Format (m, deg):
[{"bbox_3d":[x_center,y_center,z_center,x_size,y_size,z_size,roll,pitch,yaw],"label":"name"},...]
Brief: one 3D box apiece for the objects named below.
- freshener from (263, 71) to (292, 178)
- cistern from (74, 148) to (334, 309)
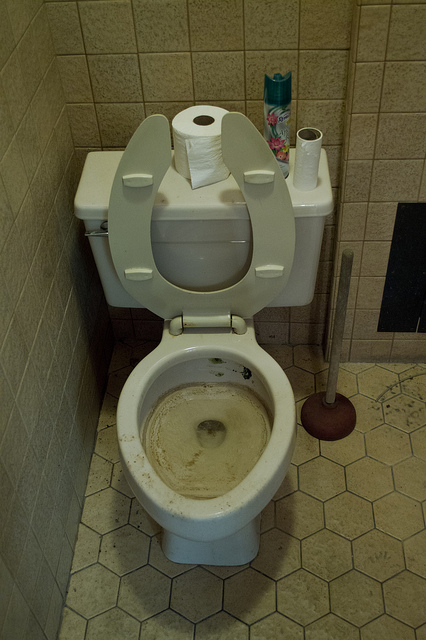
[{"bbox_3d":[0.133,-0.395,1.020,0.051,0.218,0.084,-2,39,7],"label":"freshener"},{"bbox_3d":[-0.019,-0.271,1.224,0.539,0.355,0.344,1,57,2],"label":"cistern"}]
